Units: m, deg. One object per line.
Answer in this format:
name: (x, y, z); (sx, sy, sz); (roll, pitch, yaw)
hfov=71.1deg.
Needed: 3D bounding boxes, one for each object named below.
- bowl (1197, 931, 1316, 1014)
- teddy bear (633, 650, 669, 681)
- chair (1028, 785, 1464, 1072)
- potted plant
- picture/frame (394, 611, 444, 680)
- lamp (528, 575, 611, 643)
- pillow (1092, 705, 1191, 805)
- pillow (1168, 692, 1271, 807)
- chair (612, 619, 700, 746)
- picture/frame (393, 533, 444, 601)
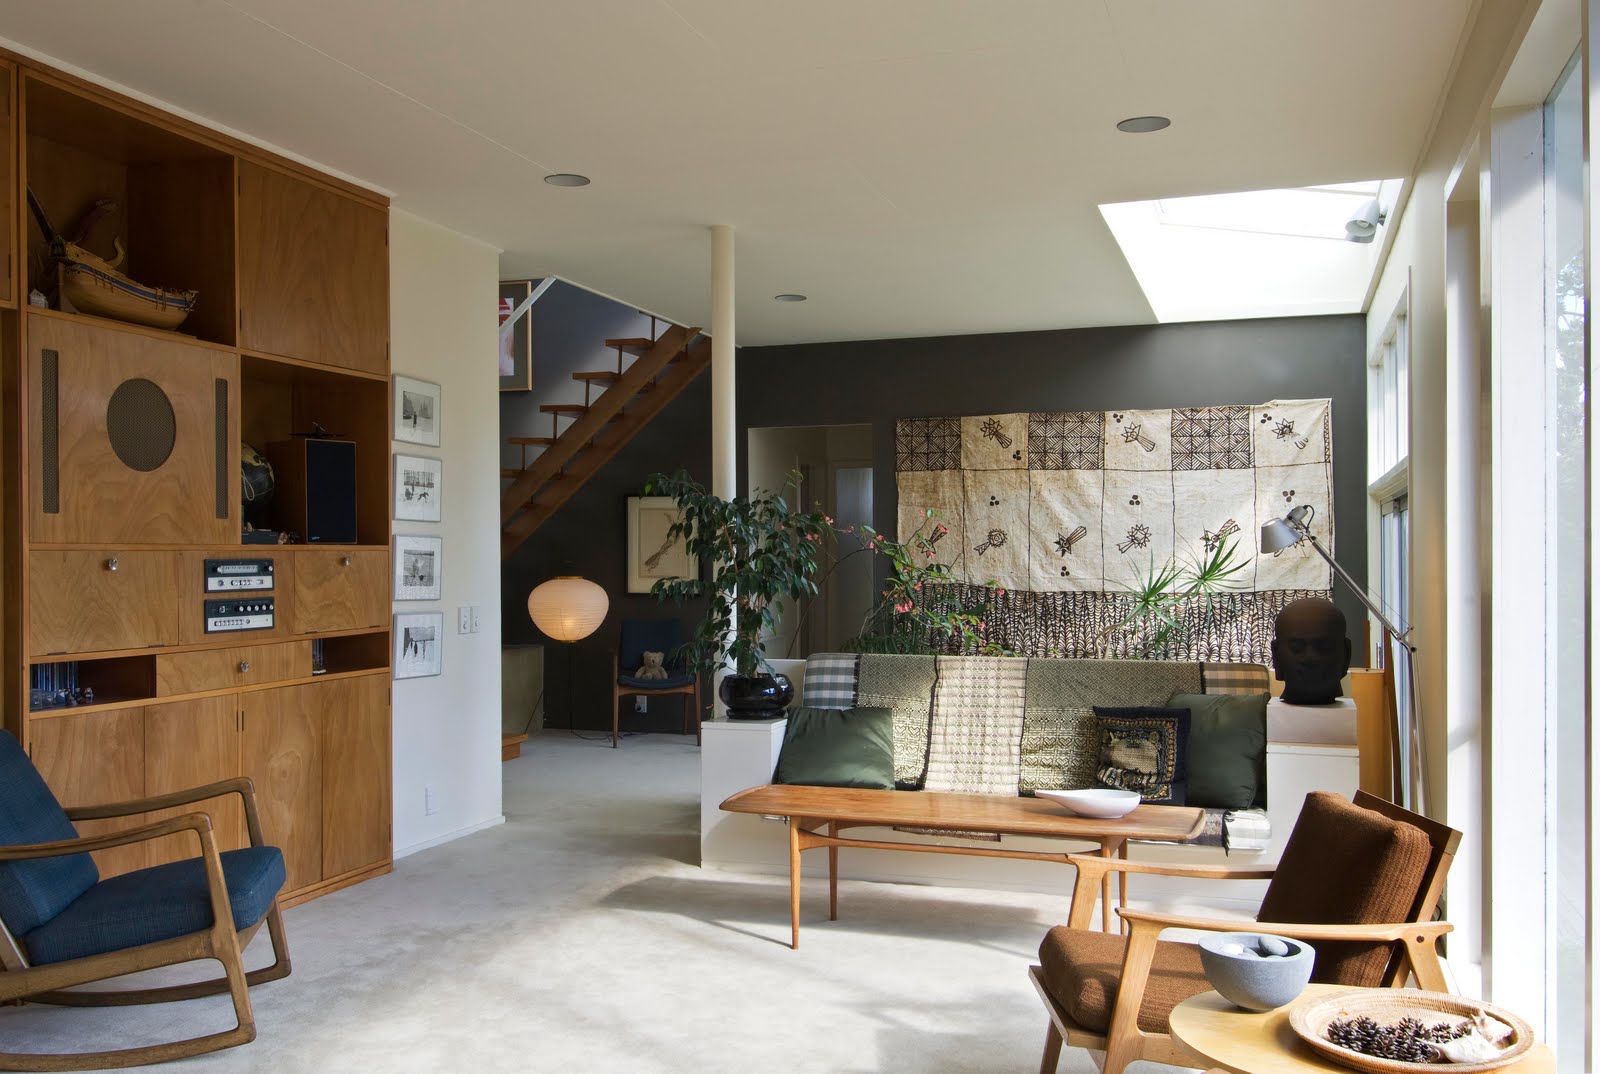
bowl: (1.273, 1.230, 3.139); (0.308, 0.178, 0.311); (2, -6, 0)
teddy bear: (-1.339, 1.167, 10.048); (0.338, 0.153, 0.433); (0, -4, -2)
chair: (1.398, 1.246, 3.736); (1.257, 1.056, 1.002); (1, -8, 1)
potted plant: (-0.497, 0.327, 6.589); (0.970, 1.418, 1.316); (-18, -3, 29)
picture/frame: (-2.214, 0.624, 6.445); (0.044, 0.370, 0.407); (-3, -5, 25)
lamp: (-1.547, 0.448, 7.134); (0.549, 0.411, 0.496); (-1, -3, 11)
pillow: (1.695, 1.162, 5.809); (0.628, 0.620, 0.212); (3, -24, 15)
pillow: (2.196, 1.136, 5.847); (0.352, 0.604, 0.636); (16, -13, -32)
chair: (-1.330, 1.241, 10.059); (0.774, 0.940, 0.655); (1, 1, -18)
picture/frame: (-2.219, 0.174, 6.455); (0.043, 0.363, 0.385); (-4, -5, 25)
